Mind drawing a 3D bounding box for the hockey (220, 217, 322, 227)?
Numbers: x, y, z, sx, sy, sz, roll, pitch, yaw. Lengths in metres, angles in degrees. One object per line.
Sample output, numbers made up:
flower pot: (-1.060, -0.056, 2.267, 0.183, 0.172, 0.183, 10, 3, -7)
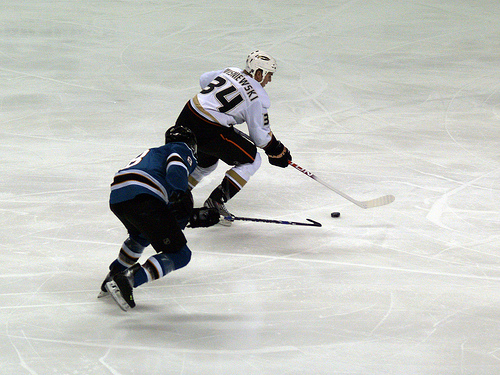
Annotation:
hockey: (0.178, 0.265, 4.755, 0.757, 0.019, 0.185, 2, 5, 6)

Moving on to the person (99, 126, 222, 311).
person: (-0.647, 0.177, 3.774, 0.585, 1.039, 0.892, 2, 27, 10)
